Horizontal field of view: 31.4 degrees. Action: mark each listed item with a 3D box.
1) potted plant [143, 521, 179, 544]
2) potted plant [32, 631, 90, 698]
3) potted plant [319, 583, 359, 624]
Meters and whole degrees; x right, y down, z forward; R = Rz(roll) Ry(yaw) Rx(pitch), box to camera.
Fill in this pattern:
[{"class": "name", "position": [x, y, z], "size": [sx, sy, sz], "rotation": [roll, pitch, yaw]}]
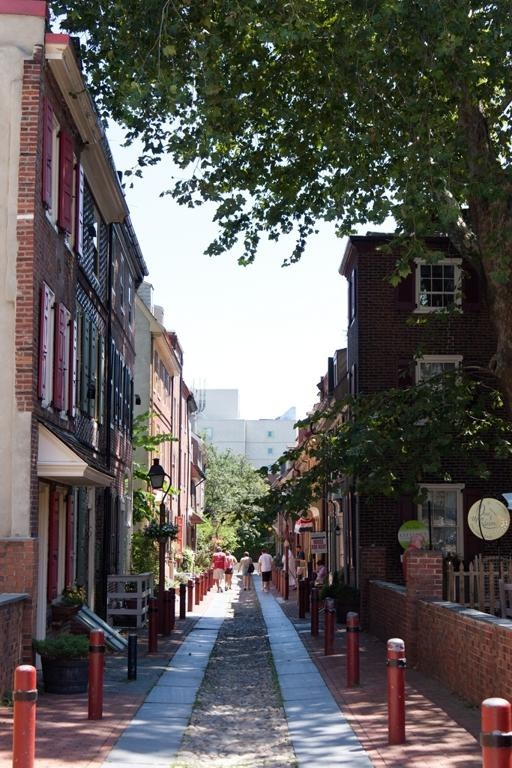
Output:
[{"class": "potted plant", "position": [-2.209, 3.401, 21.059], "size": [0.613, 0.490, 0.635], "rotation": [3, -18, -4]}, {"class": "potted plant", "position": [-2.046, 2.989, 9.674], "size": [0.577, 0.592, 0.552], "rotation": [-1, -11, -6]}, {"class": "potted plant", "position": [1.987, 5.041, 21.083], "size": [0.789, 0.855, 1.807], "rotation": [-3, -12, 6]}]
